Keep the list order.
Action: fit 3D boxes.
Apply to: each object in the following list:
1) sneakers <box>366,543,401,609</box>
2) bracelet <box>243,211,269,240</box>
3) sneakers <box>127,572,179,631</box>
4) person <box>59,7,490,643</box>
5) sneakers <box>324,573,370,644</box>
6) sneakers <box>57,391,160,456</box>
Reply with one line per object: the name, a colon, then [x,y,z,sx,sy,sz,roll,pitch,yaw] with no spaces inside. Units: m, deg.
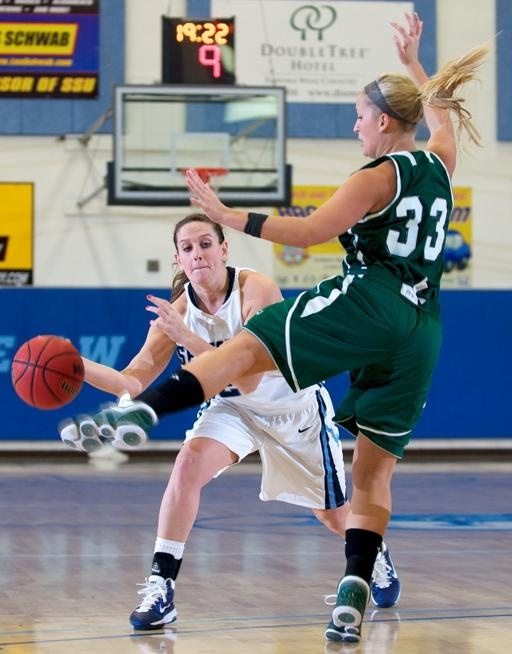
sneakers: [0.395,0.827,3.162,0.090,0.100,0.242,-17,44,21]
bracelet: [-0.001,-0.272,2.619,0.067,0.056,0.075,11,-15,17]
sneakers: [-0.303,0.806,2.817,0.089,0.133,0.249,-7,-7,19]
person: [0.208,0.048,2.800,1.289,1.783,0.666,-10,18,-43]
sneakers: [0.234,0.770,2.659,0.083,0.204,0.104,11,20,19]
sneakers: [-0.396,0.259,2.617,0.349,0.109,0.161,4,24,31]
